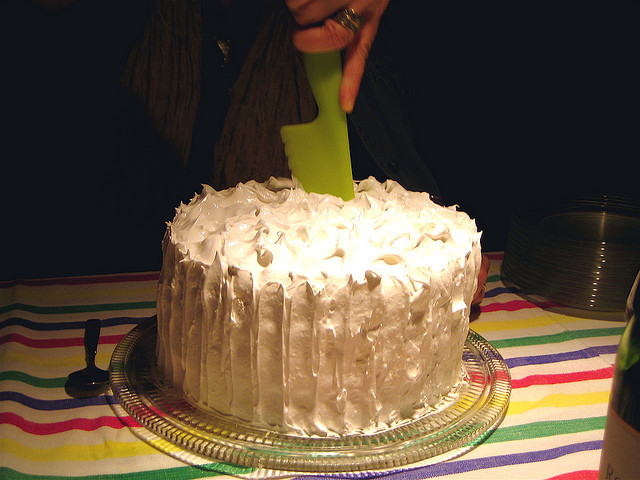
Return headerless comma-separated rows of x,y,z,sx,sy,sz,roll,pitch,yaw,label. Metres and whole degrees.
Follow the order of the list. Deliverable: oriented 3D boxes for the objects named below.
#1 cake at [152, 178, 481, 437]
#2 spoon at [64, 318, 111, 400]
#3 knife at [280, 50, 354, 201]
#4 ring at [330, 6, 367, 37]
0.029,0.032,1.198,0.554,0.298,0.545,-27,36,-29,cake
-0.421,0.206,1.125,0.064,0.116,0.114,5,-1,-15,spoon
-0.001,-0.230,1.228,0.158,0.422,0.032,-1,-31,9,knife
0.058,-0.398,1.159,0.038,0.054,0.050,-37,-18,27,ring
